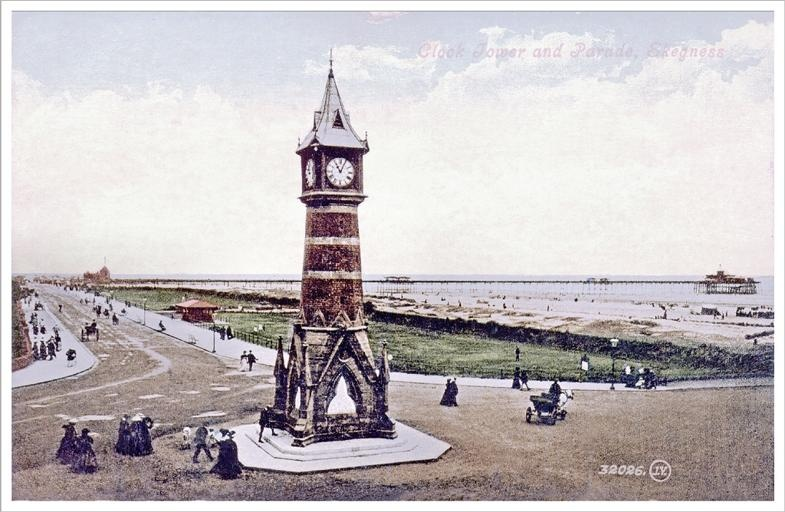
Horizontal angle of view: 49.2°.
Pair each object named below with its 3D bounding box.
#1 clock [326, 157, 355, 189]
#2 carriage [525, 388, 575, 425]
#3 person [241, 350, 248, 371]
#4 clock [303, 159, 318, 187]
[{"bbox_3d":[-3.604,-5.495,57.359,2.074,1.985,0.179,5,1,-6],"label":"clock"},{"bbox_3d":[11.609,11.239,63.038,1.814,1.825,3.976,1,2,37],"label":"carriage"},{"bbox_3d":[-12.773,9.037,73.628,0.582,1.522,2.298,3,-2,-10],"label":"person"},{"bbox_3d":[-5.500,-5.572,57.606,0.119,1.605,1.642,-6,16,-24],"label":"clock"}]
